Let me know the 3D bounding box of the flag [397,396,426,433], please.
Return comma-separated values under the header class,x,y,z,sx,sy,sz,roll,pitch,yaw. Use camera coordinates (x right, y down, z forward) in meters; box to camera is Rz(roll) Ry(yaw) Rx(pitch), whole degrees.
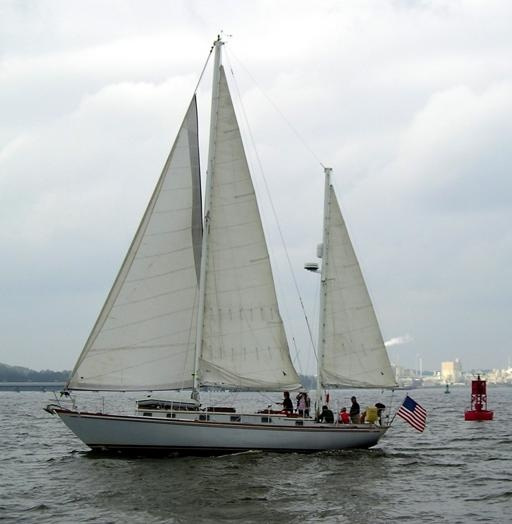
class,x,y,z,sx,sy,sz,roll,pitch,yaw
flag,6.956,6.856,37.038,1.095,1.577,0.932,-3,-8,15
